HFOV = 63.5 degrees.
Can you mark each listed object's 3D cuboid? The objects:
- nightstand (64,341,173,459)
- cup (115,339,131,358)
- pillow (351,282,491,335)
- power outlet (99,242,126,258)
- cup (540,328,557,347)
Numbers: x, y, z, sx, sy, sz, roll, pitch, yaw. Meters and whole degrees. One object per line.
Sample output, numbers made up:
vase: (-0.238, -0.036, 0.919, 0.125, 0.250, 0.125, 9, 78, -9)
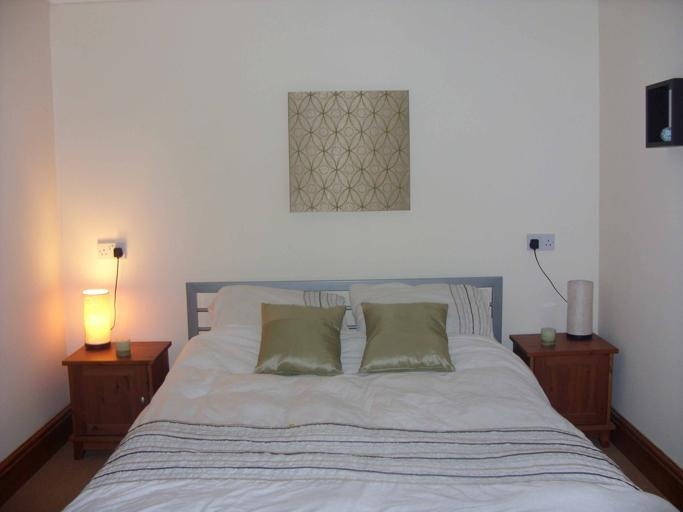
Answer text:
nightstand: (-1.492, 0.948, 3.942, 0.662, 0.955, 0.643, 0, 0, -5)
cup: (-1.460, 0.623, 3.689, 0.094, 0.115, 0.103, 0, -2, 0)
pillow: (0.692, 0.318, 3.765, 0.498, 0.168, 0.490, 0, 11, 0)
power outlet: (-1.642, -0.042, 3.927, 0.193, 0.115, 0.060, 0, 4, 11)
cup: (1.418, 0.566, 3.798, 0.096, 0.109, 0.108, 0, -4, 2)
